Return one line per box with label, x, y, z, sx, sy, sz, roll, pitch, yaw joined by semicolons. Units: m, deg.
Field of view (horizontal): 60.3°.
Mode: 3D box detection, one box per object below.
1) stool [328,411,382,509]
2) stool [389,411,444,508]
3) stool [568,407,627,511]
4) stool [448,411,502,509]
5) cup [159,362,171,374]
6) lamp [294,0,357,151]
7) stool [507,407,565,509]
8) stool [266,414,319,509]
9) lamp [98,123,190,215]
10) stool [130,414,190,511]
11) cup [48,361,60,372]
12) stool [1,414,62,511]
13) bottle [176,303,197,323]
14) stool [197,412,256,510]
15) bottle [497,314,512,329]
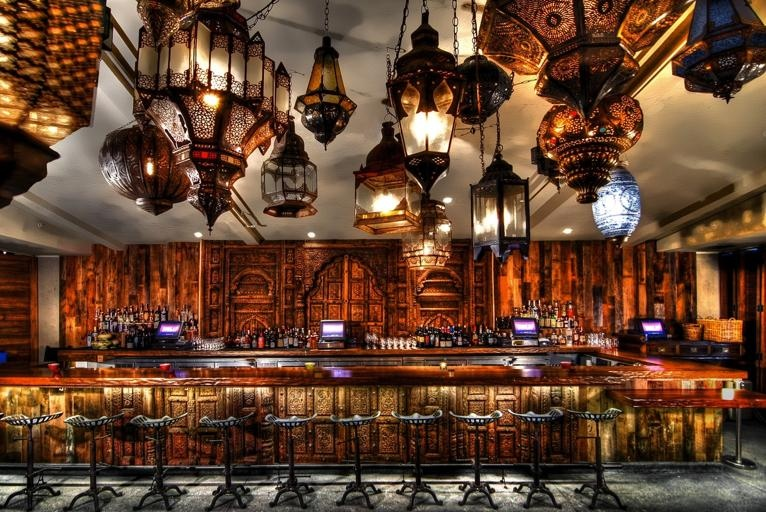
stool;-0.345;2.685;8.785;0.658;1.185;0.907;-1;-9;-1
stool;0.474;2.679;8.795;0.639;1.207;0.851;-2;-9;3
stool;2.874;2.793;8.931;0.939;1.342;0.912;7;-14;-16
stool;1.273;2.737;9.093;1.080;1.462;1.062;0;-12;7
cup;-3.119;1.573;9.255;0.230;0.152;0.224;2;-10;0
lamp;-0.645;-1.982;6.934;0.657;1.631;0.544;-10;-12;43
stool;2.059;2.664;8.820;0.692;1.219;0.836;-3;-9;12
stool;-1.216;2.692;8.760;0.675;1.170;0.950;0;-9;-7
lamp;-2.416;-0.832;7.178;0.979;0.987;1.017;-4;-6;27
stool;-2.999;2.719;8.816;0.734;1.169;0.893;1;-9;-16
cup;-4.551;1.539;9.203;0.192;0.163;0.180;-1;-6;0
stool;-4.709;2.721;8.821;0.742;1.201;0.862;3;-10;-26
bottle;-3.629;1.074;12.199;0.359;0.351;0.088;-2;-9;6
stool;-2.077;2.719;8.818;0.708;1.173;0.759;1;-9;-13
bottle;2.226;1.230;12.163;0.246;0.225;0.072;-4;-9;18
